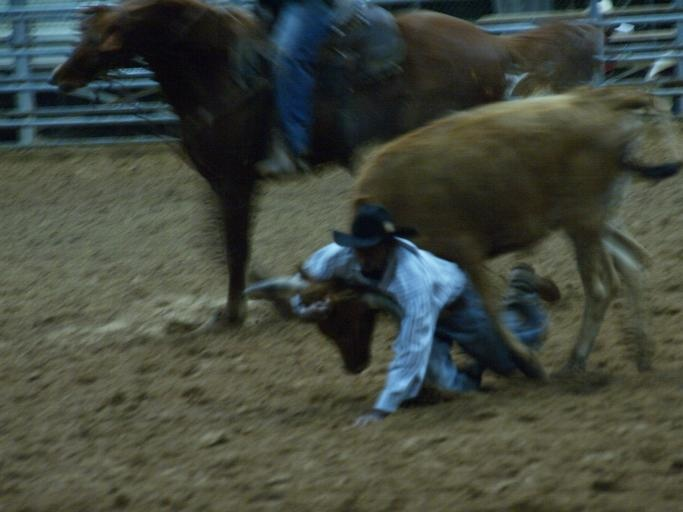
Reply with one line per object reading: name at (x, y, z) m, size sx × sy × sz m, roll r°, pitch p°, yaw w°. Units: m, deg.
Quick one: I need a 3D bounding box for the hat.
hat at (0.183, -0.175, 6.487) m, size 0.362 × 0.120 × 0.381 m, roll -6°, pitch 4°, yaw 24°

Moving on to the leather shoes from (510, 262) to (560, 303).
leather shoes at (1.310, 0.173, 7.113) m, size 0.360 × 0.122 × 0.215 m, roll 24°, pitch 41°, yaw -4°
